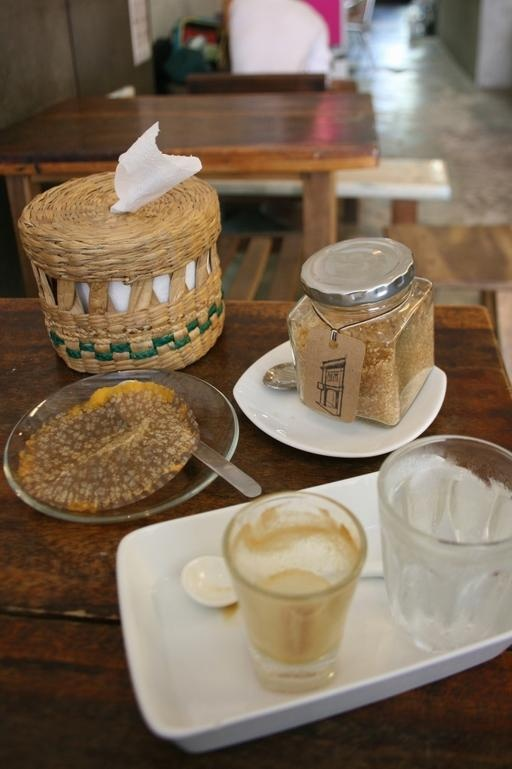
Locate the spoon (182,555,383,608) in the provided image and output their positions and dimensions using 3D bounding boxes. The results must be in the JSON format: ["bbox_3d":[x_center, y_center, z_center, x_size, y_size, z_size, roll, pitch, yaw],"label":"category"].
[{"bbox_3d":[0.015,0.120,0.442,0.117,0.015,0.043,1,29,-2],"label":"spoon"}]

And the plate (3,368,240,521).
[{"bbox_3d":[-0.103,0.046,0.555,0.137,0.016,0.126,-18,36,-20],"label":"plate"}]

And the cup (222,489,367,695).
[{"bbox_3d":[0.019,0.107,0.377,0.068,0.089,0.071,-1,35,1],"label":"cup"}]
